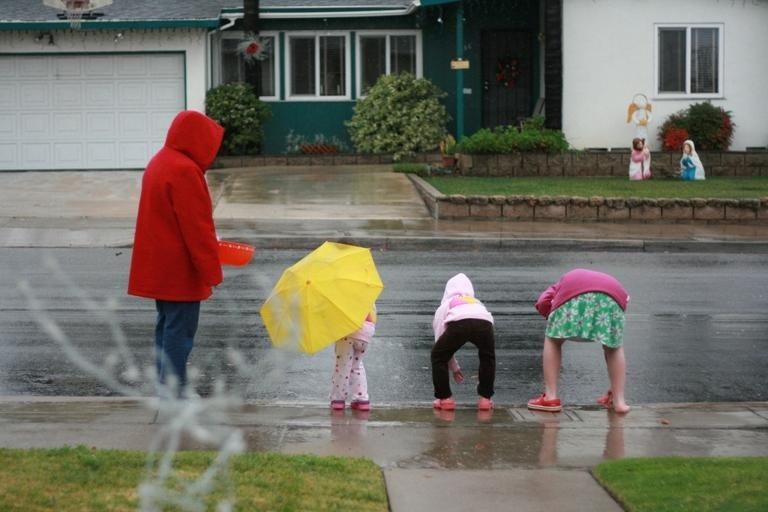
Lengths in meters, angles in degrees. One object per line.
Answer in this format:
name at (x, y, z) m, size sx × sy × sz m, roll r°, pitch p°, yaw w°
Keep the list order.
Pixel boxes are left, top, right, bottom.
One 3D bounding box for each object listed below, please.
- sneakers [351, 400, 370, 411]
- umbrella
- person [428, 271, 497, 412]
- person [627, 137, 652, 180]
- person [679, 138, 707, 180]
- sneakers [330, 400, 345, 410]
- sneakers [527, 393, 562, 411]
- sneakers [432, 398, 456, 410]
sneakers at (-0.375, 2.190, 17.374) m, size 0.295 × 0.119 × 0.106 m, roll 5°, pitch 8°, yaw 16°
umbrella at (-0.994, 0.543, 17.321) m, size 1.913 × 1.858 × 0.613 m, roll -18°, pitch -43°, yaw 12°
person at (1.140, 1.270, 17.456) m, size 0.915 × 1.931 × 0.488 m, roll 0°, pitch 5°, yaw 3°
person at (6.714, -2.484, 31.185) m, size 0.552 × 1.066 × 0.803 m, roll 1°, pitch 5°, yaw 12°
person at (8.125, -2.486, 31.350) m, size 0.685 × 0.993 × 0.852 m, roll -15°, pitch 15°, yaw -41°
sneakers at (-0.698, 2.167, 17.318) m, size 0.228 × 0.147 × 0.152 m, roll -1°, pitch 5°, yaw -9°
sneakers at (2.339, 2.141, 17.359) m, size 0.487 × 0.198 × 0.221 m, roll 3°, pitch -3°, yaw 18°
sneakers at (0.849, 2.171, 17.391) m, size 0.296 × 0.121 × 0.134 m, roll 5°, pitch 7°, yaw 23°
